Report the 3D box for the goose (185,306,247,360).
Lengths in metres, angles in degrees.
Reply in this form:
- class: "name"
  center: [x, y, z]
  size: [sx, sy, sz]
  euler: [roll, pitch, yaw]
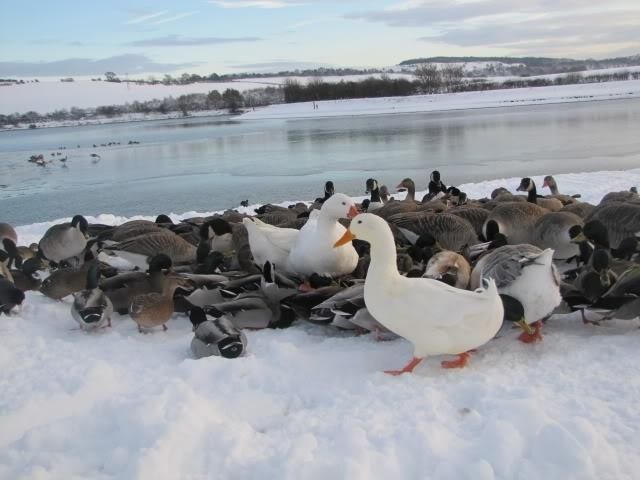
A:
- class: "goose"
  center: [-1.121, 0.914, 5.573]
  size: [0.564, 0.365, 1.283]
  euler: [-8, 15, -14]
